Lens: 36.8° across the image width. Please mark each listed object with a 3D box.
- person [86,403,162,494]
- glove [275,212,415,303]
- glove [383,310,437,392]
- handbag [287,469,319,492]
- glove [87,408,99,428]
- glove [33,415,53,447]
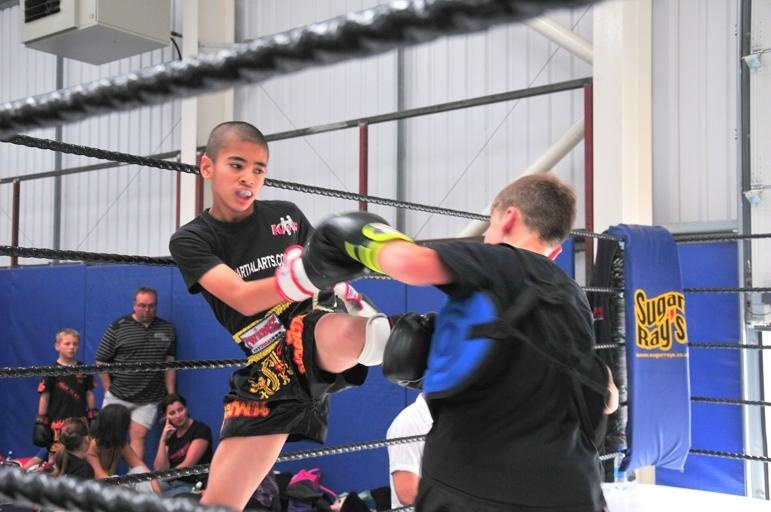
[{"bbox_3d":[-2.140,1.505,9.378,0.540,0.626,1.380,3,-4,-14],"label":"person"},{"bbox_3d":[-0.257,0.021,6.717,0.640,0.274,0.516,-27,-30,31],"label":"glove"},{"bbox_3d":[0.194,0.542,6.767,0.158,0.391,0.318,19,-16,-19],"label":"glove"},{"bbox_3d":[-0.625,1.775,9.110,0.190,0.124,0.166,19,6,-19],"label":"handbag"},{"bbox_3d":[-2.589,1.420,10.215,0.087,0.199,0.155,16,8,-15],"label":"glove"},{"bbox_3d":[-3.045,1.533,10.288,0.106,0.271,0.206,-14,-26,0],"label":"glove"}]
